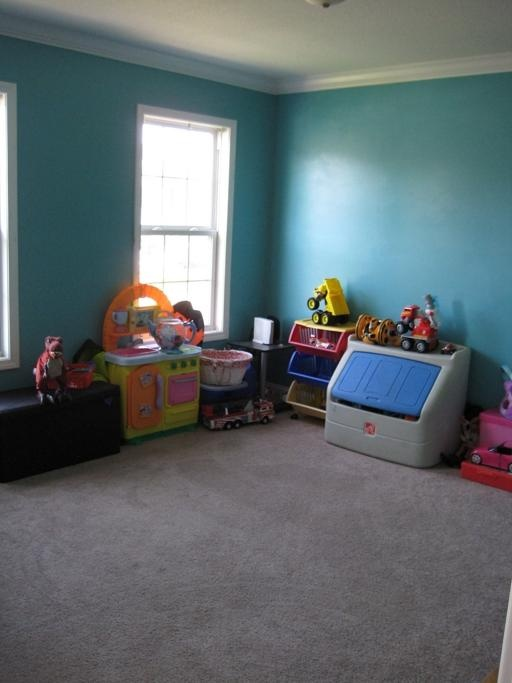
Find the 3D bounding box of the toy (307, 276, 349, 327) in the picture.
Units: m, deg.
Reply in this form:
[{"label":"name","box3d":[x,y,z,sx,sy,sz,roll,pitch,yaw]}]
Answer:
[{"label":"toy","box3d":[0.551,-0.299,4.207,0.217,0.347,0.259,-5,10,-44]}]

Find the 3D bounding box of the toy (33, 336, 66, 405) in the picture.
[{"label":"toy","box3d":[-1.134,0.161,3.045,0.147,0.403,0.164,4,26,-20]}]

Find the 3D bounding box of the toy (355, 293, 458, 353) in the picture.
[{"label":"toy","box3d":[0.981,-0.268,3.717,0.642,0.437,0.379,11,14,35]}]

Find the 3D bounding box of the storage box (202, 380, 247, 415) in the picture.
[{"label":"storage box","box3d":[-0.243,0.413,4.082,0.280,0.099,0.240,-2,4,-28]}]

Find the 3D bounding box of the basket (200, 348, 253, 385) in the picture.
[{"label":"basket","box3d":[-0.235,0.196,4.156,0.364,0.232,0.442,2,8,-2]}]

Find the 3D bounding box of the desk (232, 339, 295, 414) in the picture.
[{"label":"desk","box3d":[0.102,0.237,4.597,0.454,0.525,0.535,16,23,40]}]

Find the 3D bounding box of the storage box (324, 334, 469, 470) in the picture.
[{"label":"storage box","box3d":[0.877,0.321,3.750,0.738,0.902,0.988,-4,9,-44]}]
